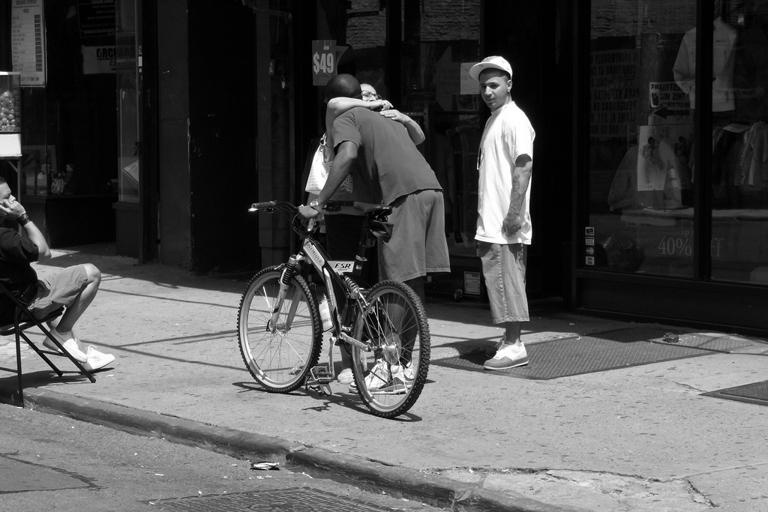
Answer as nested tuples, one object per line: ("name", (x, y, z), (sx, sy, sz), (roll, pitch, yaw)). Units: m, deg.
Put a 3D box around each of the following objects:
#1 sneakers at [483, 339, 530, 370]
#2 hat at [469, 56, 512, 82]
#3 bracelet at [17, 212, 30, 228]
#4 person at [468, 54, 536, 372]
("sneakers", (1.101, 0.884, 7.844), (0.484, 0.194, 0.175), (-2, 0, -37))
("hat", (0.927, -1.665, 7.800), (0.314, 0.197, 0.377), (-4, 11, -12))
("bracelet", (-2.980, -0.305, 7.399), (0.099, 0.092, 0.099), (-34, 19, -14))
("person", (1.038, -0.379, 7.768), (0.533, 2.696, 0.710), (0, 12, 6))
